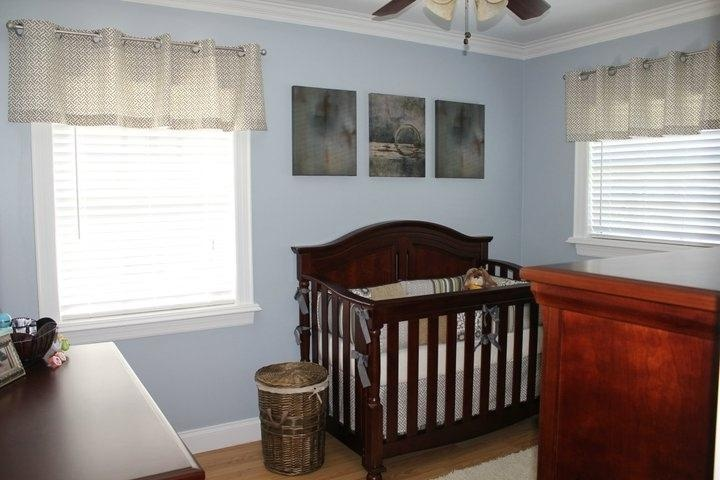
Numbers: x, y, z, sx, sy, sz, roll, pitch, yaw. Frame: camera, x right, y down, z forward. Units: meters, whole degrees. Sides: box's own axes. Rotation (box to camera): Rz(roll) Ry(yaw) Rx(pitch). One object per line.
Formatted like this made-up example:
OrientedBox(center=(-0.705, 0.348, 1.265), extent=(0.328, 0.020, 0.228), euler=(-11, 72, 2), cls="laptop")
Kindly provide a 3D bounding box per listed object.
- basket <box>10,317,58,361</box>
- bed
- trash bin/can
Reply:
OrientedBox(center=(-1.180, 0.351, 1.890), extent=(0.159, 0.115, 0.143), euler=(-4, -6, 44), cls="basket")
OrientedBox(center=(0.352, 0.642, 3.624), extent=(1.887, 1.534, 1.363), euler=(-3, 5, -30), cls="bed")
OrientedBox(center=(-0.397, 0.979, 3.249), extent=(0.492, 0.697, 0.582), euler=(0, 5, 14), cls="trash bin/can")
